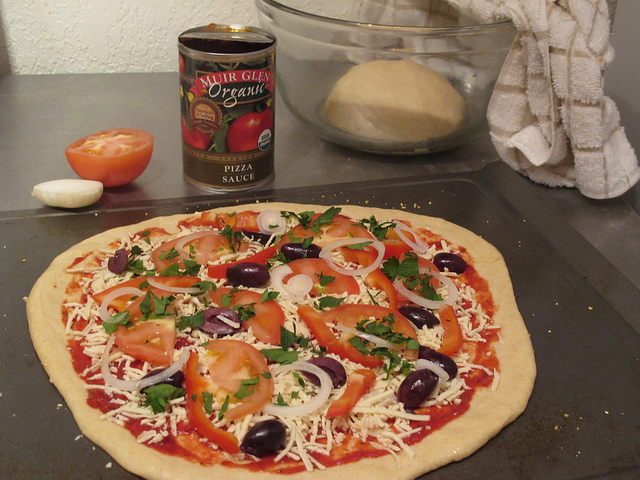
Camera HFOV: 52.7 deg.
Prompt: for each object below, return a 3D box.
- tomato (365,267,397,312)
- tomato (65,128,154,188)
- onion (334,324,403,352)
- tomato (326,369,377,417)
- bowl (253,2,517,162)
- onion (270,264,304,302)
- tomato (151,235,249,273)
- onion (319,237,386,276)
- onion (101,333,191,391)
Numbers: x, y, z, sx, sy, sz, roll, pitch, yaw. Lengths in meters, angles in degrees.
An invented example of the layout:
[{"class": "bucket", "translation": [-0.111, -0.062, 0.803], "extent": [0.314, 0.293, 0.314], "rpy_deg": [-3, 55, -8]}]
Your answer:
[{"class": "tomato", "translation": [0.223, 0.168, 2.547], "extent": [0.153, 0.060, 0.203], "rpy_deg": [-9, 16, -3]}, {"class": "tomato", "translation": [-0.979, -0.404, 3.011], "extent": [0.303, 0.190, 0.304], "rpy_deg": [9, 24, 17]}, {"class": "onion", "translation": [0.172, 0.352, 2.311], "extent": [0.217, 0.024, 0.023], "rpy_deg": [20, 81, 4]}, {"class": "tomato", "translation": [0.110, 0.518, 2.216], "extent": [0.116, 0.061, 0.271], "rpy_deg": [-2, 18, 23]}, {"class": "bowl", "translation": [0.325, -0.802, 3.224], "extent": [0.921, 0.456, 0.905], "rpy_deg": [3, 21, -1]}, {"class": "onion", "translation": [-0.142, 0.167, 2.531], "extent": [0.118, 0.039, 0.153], "rpy_deg": [-21, 68, -31]}, {"class": "tomato", "translation": [-0.504, 0.050, 2.628], "extent": [0.267, 0.055, 0.170], "rpy_deg": [-28, 40, -27]}, {"class": "onion", "translation": [0.131, 0.066, 2.650], "extent": [0.197, 0.071, 0.166], "rpy_deg": [-23, 54, -10]}, {"class": "onion", "translation": [-0.622, 0.432, 2.232], "extent": [0.318, 0.074, 0.188], "rpy_deg": [14, 59, 6]}]
